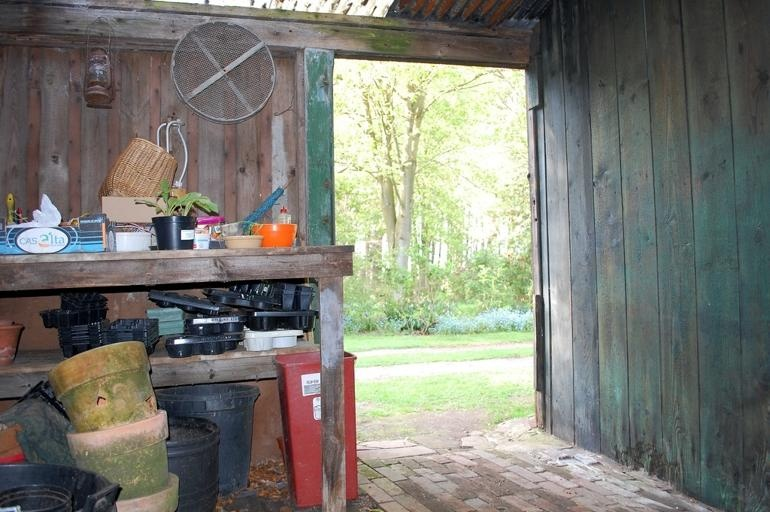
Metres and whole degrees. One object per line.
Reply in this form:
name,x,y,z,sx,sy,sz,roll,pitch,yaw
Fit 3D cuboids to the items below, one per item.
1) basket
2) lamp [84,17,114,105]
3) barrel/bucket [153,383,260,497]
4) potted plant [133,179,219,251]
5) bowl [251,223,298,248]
basket,-1.972,-0.679,5.463,0.437,0.445,0.381,-6,-14,36
lamp,-2.379,-1.617,5.601,0.232,0.732,0.283,-2,2,-22
barrel/bucket,-1.326,1.421,5.419,0.796,0.701,0.780,1,-3,0
potted plant,-1.492,-0.251,4.763,0.557,0.443,0.515,-1,-3,8
bowl,-0.796,-0.152,4.996,0.220,0.131,0.224,-2,0,0
